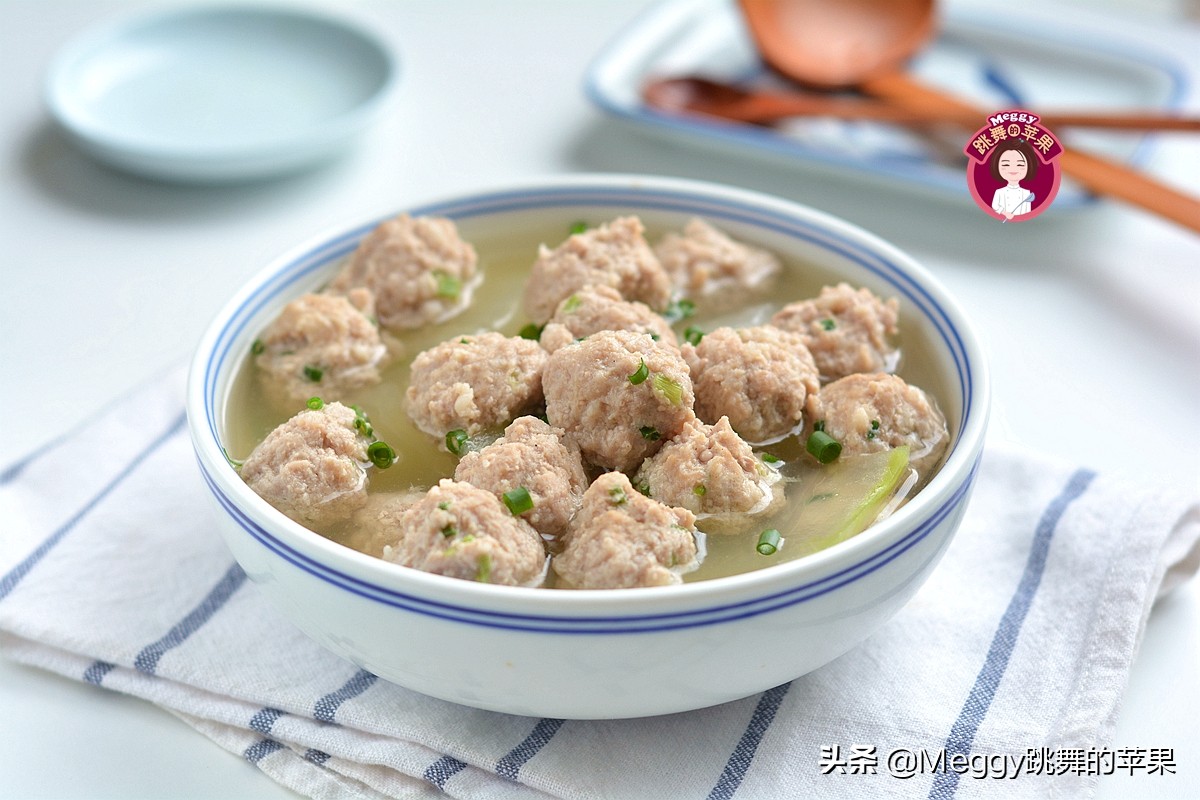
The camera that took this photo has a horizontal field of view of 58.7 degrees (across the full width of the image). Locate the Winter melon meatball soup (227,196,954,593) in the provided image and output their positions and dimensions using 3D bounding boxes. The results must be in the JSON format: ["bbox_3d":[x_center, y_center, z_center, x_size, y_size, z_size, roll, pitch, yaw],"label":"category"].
[{"bbox_3d":[-0.047,0.056,2.668,1.148,0.383,1.153,2,30,2],"label":"Winter melon meatball soup"}]
